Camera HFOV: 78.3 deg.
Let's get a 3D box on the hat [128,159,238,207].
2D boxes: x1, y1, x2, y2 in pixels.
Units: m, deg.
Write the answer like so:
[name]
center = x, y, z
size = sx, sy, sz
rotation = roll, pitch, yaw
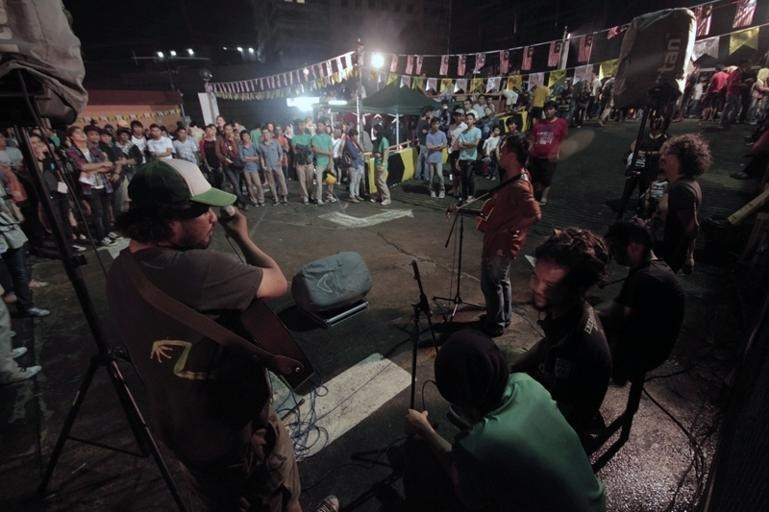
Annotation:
[hat]
center = -1.936, -0.676, 4.508
size = 0.858, 0.350, 0.510
rotation = -5, 17, -16
